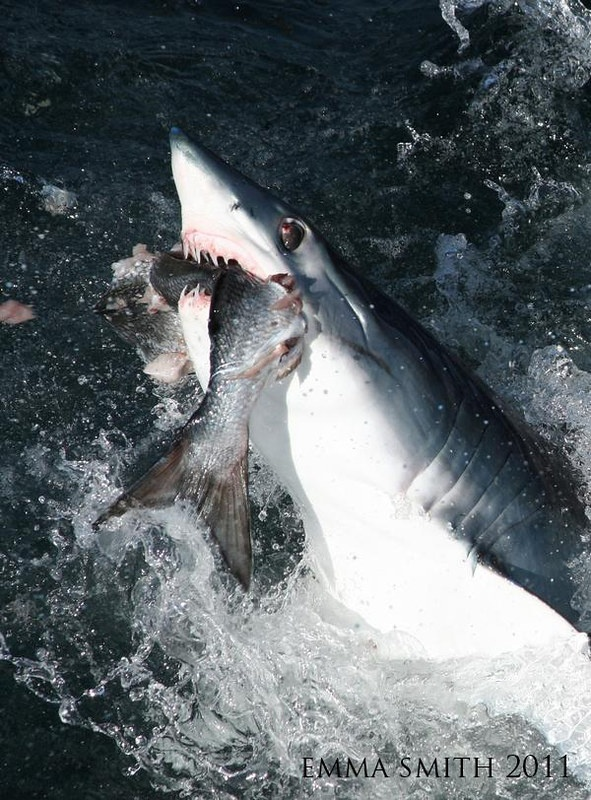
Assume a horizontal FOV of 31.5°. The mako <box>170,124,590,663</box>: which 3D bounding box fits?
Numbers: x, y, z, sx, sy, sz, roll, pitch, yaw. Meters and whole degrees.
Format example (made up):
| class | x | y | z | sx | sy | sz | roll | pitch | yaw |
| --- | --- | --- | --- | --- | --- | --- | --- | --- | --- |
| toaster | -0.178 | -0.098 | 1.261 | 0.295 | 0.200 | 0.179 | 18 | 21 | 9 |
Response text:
| class | x | y | z | sx | sy | sz | roll | pitch | yaw |
| --- | --- | --- | --- | --- | --- | --- | --- | --- | --- |
| mako | 0.197 | 0.042 | 4.190 | 2.361 | 1.248 | 0.790 | 46 | 73 | -6 |
